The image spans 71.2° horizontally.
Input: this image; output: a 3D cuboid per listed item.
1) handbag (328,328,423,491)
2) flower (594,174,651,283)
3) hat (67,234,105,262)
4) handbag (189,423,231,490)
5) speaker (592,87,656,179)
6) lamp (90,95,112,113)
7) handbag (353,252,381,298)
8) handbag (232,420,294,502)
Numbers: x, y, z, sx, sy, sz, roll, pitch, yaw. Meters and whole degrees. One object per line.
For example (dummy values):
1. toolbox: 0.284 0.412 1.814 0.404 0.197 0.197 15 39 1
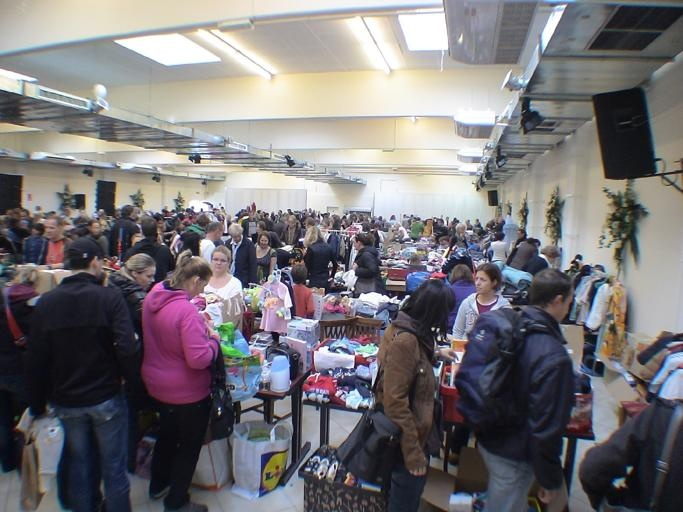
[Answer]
1. handbag: 0.232 1.044 3.163 0.319 0.754 0.562 15 -2 -17
2. flower: 3.571 -0.370 6.125 0.366 0.762 1.069 4 2 18
3. hat: -1.791 -0.053 3.364 0.148 0.113 0.194 9 14 -1
4. handbag: -1.087 1.686 3.941 0.324 0.425 0.245 -4 3 20
5. speaker: 3.061 -1.176 5.062 0.546 0.840 0.552 2 -18 14
6. lamp: -3.862 -2.407 7.618 0.217 0.318 0.444 2 2 -21
7. handbag: 0.333 0.261 6.314 0.385 0.683 0.578 3 4 27
8. handbag: -0.654 1.693 3.988 0.440 0.513 0.504 -2 -6 39
